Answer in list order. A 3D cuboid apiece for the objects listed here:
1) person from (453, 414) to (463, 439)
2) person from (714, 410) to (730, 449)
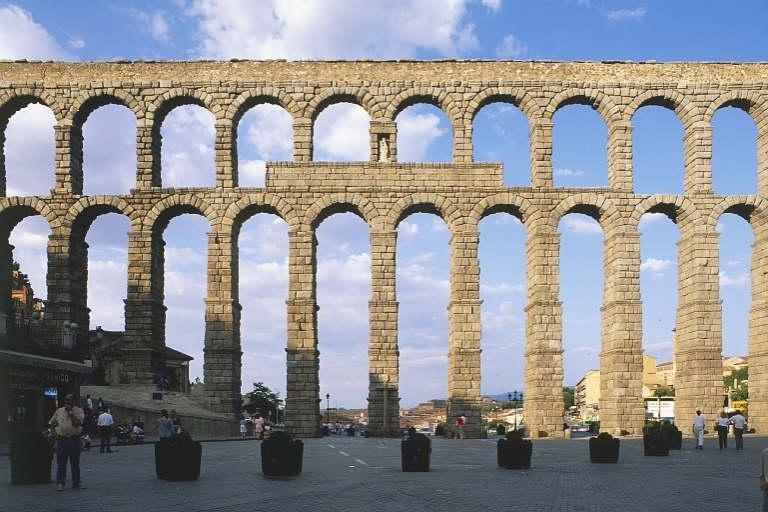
[{"bbox_3d":[4.527,10.277,79.577,0.540,1.424,0.940,0,-13,1],"label":"person"},{"bbox_3d":[17.706,9.151,69.369,0.662,1.961,0.796,-3,-13,13],"label":"person"}]
